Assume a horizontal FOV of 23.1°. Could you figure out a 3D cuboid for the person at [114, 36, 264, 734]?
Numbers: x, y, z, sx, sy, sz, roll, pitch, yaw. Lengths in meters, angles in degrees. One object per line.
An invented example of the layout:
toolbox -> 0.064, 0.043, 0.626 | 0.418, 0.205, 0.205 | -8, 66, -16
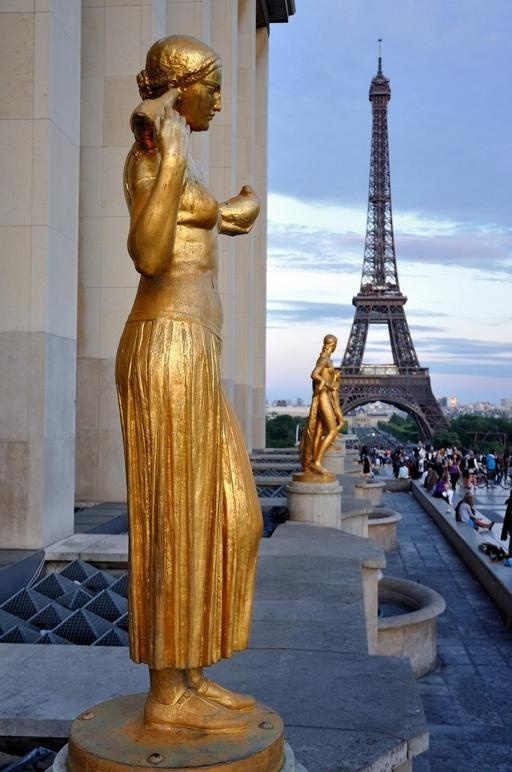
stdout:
person -> -0.311, -0.041, 6.024 | 0.770, 3.094, 0.498 | 4, -1, -8
